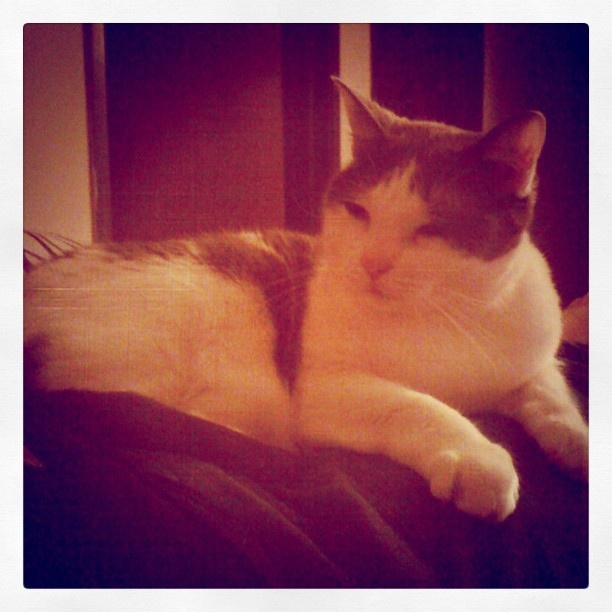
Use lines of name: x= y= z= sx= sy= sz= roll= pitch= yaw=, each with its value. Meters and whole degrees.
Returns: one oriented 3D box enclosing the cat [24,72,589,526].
cat: x=-0.157 y=0.026 z=2.812 sx=1.944 sy=1.171 sz=1.463 roll=9 pitch=96 yaw=36
